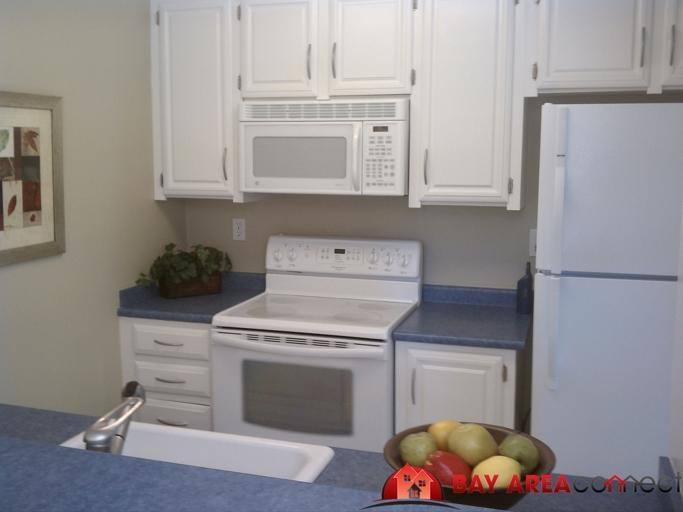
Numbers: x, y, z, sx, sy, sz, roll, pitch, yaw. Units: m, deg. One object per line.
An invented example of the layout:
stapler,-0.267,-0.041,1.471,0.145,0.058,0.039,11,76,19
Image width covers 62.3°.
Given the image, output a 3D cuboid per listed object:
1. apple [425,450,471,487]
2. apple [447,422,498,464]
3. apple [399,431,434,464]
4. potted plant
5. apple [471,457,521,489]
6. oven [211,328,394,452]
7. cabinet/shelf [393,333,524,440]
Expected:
apple,0.190,0.377,0.997,0.083,0.039,0.081,0,13,5
apple,0.241,0.345,1.071,0.067,0.067,0.080,-35,53,-25
apple,0.143,0.363,1.066,0.052,0.053,0.052,-19,-12,25
potted plant,-0.893,0.075,3.122,0.468,0.292,0.206,-6,13,-20
apple,0.269,0.365,0.982,0.060,0.035,0.050,-10,5,44
oven,-0.161,0.586,2.772,0.826,0.524,0.561,3,1,10
cabinet/shelf,0.461,0.659,2.634,0.582,0.577,0.368,4,-3,-15
